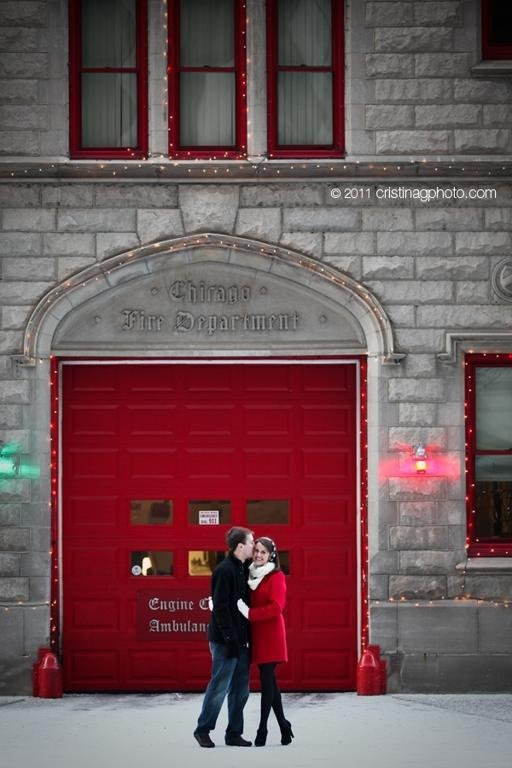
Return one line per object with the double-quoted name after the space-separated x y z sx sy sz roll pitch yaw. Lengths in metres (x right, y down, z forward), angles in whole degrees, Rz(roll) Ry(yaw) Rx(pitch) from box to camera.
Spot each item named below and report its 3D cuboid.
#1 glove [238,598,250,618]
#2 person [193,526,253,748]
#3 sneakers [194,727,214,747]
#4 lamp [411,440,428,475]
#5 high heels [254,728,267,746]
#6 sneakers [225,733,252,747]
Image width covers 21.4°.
-0.105 1.706 10.454 0.042 0.140 0.085 -23 0 -2 "glove"
-0.245 1.955 10.544 0.492 1.690 0.487 -2 -3 -1 "person"
-0.398 2.741 10.564 0.080 0.095 0.221 11 -10 -29 "sneakers"
1.471 0.658 12.164 0.135 0.263 0.094 1 -5 -1 "lamp"
0.034 2.728 10.541 0.081 0.136 0.140 3 -6 0 "high heels"
-0.147 2.754 10.594 0.226 0.097 0.078 0 -5 8 "sneakers"
